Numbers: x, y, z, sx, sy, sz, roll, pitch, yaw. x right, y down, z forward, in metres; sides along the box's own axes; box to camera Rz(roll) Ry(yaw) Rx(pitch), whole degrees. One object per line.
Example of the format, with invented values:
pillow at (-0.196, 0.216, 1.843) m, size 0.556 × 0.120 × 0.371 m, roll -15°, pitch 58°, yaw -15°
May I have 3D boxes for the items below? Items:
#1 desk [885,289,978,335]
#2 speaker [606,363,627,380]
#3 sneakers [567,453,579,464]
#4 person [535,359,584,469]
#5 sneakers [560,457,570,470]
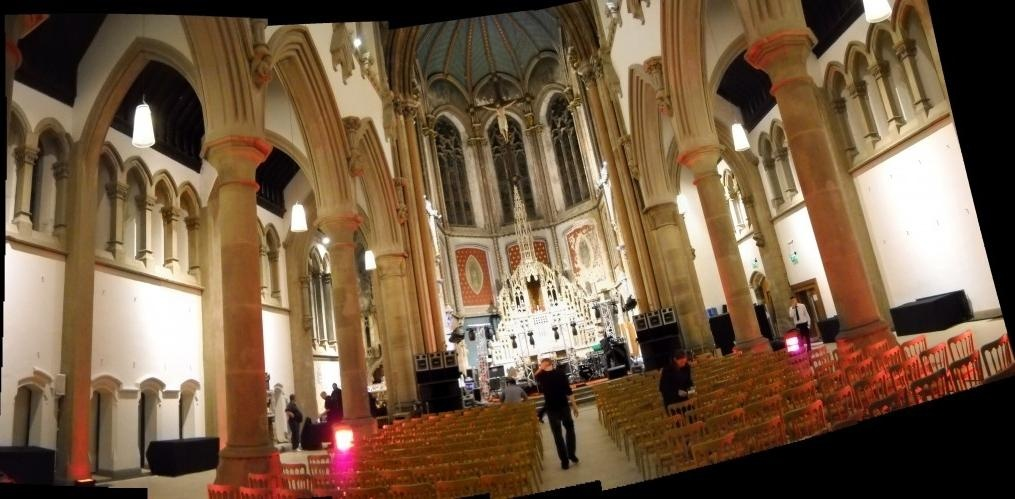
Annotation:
desk at (14.446, 2.196, 21.708) m, size 2.498 × 1.559 × 1.288 m, roll -19°, pitch -15°, yaw 35°
speaker at (4.528, 5.046, 26.295) m, size 0.929 × 0.516 × 0.602 m, roll 3°, pitch -20°, yaw -23°
sneakers at (1.697, 5.322, 16.249) m, size 0.231 × 0.242 × 0.242 m, roll -7°, pitch -19°, yaw -4°
person at (1.237, 4.241, 16.640) m, size 1.151 × 2.709 × 0.813 m, roll -9°, pitch -5°, yaw 6°
sneakers at (1.466, 5.368, 16.017) m, size 0.301 × 0.249 × 0.186 m, roll 9°, pitch -26°, yaw -41°
